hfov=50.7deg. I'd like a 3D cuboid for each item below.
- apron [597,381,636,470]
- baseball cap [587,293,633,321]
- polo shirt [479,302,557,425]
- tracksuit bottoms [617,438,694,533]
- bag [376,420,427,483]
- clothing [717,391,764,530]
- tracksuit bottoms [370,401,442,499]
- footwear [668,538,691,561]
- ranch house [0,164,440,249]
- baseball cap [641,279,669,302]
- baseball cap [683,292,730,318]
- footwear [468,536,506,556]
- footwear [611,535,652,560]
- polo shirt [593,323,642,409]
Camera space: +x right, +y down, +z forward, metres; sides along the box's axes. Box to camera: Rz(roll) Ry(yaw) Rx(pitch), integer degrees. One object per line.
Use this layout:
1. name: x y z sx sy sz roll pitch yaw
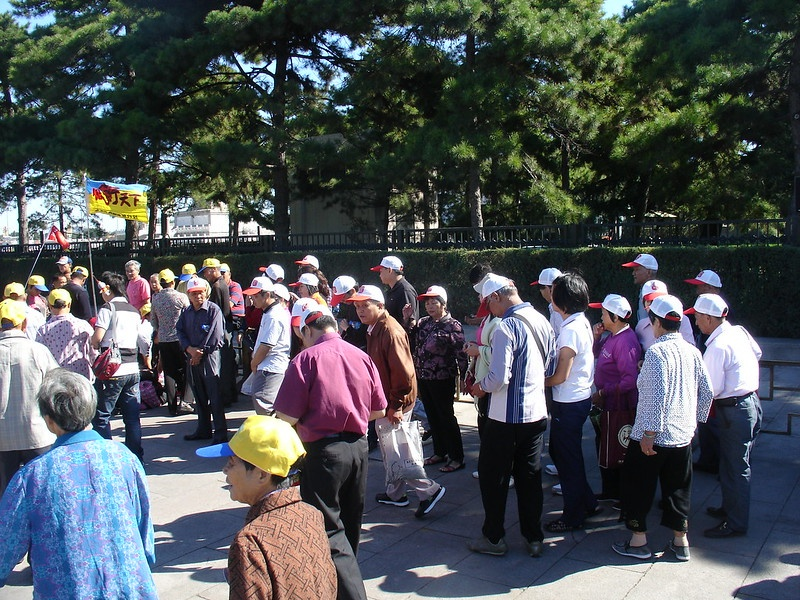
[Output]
1. apron: 2.574 1.379 9.888 0.439 1.107 0.230 -1 4 -22
2. baseball cap: 2.490 0.070 10.003 0.431 0.243 0.279 29 12 21
3. polo shirt: 1.334 0.665 9.435 0.897 1.265 0.590 -2 5 -40
4. tracksuit bottoms: 2.842 2.017 9.205 0.675 1.143 0.402 4 -34 15
5. bag: 0.010 1.820 10.196 0.684 0.945 0.386 -7 -7 -4
6. clothing: 3.832 1.799 9.597 0.461 1.515 0.376 0 3 17
7. tracksuit bottoms: 0.055 1.850 10.200 0.543 1.252 0.470 -9 -1 11
8. footwear: 3.052 2.701 9.254 0.110 0.148 0.319 -1 6 -6
9. ranch house: -5.492 -2.712 30.662 9.039 2.148 23.338 -3 4 -32
10. baseball cap: 3.168 -0.138 10.538 0.228 0.205 0.351 -7 1 9
11. baseball cap: 3.567 0.059 9.775 0.353 0.221 0.256 12 11 39
12. footwear: 0.976 2.712 9.338 0.430 0.225 0.171 1 -4 24
13. footwear: 2.545 2.677 9.284 0.399 0.180 0.178 2 -4 29
14. polo shirt: 2.754 0.541 10.359 0.654 1.330 1.270 2 1 9
